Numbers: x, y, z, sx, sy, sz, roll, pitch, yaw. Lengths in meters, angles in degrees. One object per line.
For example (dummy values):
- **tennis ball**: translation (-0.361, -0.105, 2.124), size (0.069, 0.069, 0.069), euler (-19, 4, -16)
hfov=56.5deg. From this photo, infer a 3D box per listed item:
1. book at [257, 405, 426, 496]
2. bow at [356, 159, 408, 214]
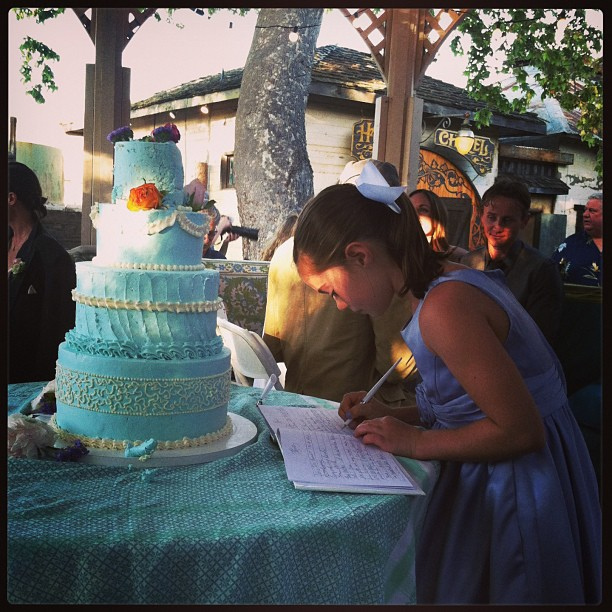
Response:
- **book**: translation (0.086, 0.369, 1.672), size (0.487, 0.124, 0.560), euler (5, 6, -2)
- **bow**: translation (0.220, -0.332, 1.615), size (0.105, 0.142, 0.125), euler (1, 7, -2)
